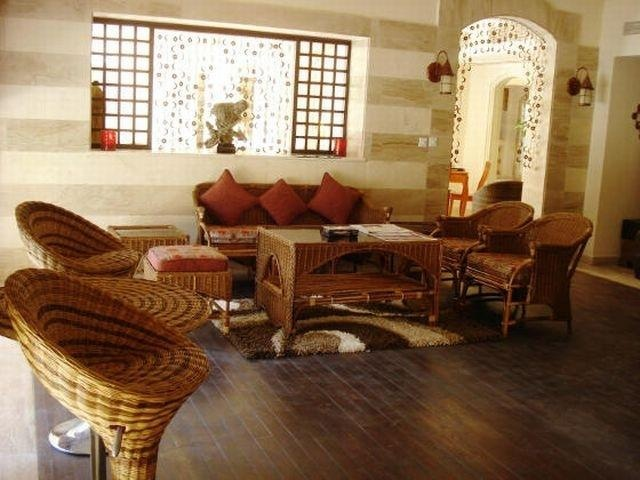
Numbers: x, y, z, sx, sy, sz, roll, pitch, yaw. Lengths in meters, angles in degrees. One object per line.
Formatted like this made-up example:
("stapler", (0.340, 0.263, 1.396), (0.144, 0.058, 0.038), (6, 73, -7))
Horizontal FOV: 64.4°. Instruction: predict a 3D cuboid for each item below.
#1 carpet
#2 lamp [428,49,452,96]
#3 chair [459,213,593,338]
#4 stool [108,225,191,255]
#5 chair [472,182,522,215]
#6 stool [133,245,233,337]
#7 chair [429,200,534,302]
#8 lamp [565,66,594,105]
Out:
("carpet", (0.396, 0.752, 4.589), (2.471, 0.081, 1.026), (0, 13, -17))
("lamp", (1.651, -2.264, 6.806), (0.365, 0.577, 0.375), (14, 17, 34))
("chair", (1.907, 0.303, 5.169), (1.383, 1.146, 1.108), (-3, 8, -19))
("stool", (-1.731, -0.041, 5.217), (0.530, 0.177, 0.498), (0, 8, -24))
("chair", (3.323, -0.757, 9.515), (0.822, 0.703, 0.738), (-2, 19, 1))
("stool", (-1.142, 0.415, 4.340), (0.804, 0.631, 0.729), (3, 9, -24))
("chair", (1.735, 0.038, 5.796), (1.271, 1.233, 0.984), (-2, 11, -22))
("lamp", (3.889, -2.275, 7.495), (0.353, 0.558, 0.477), (16, 18, 41))
